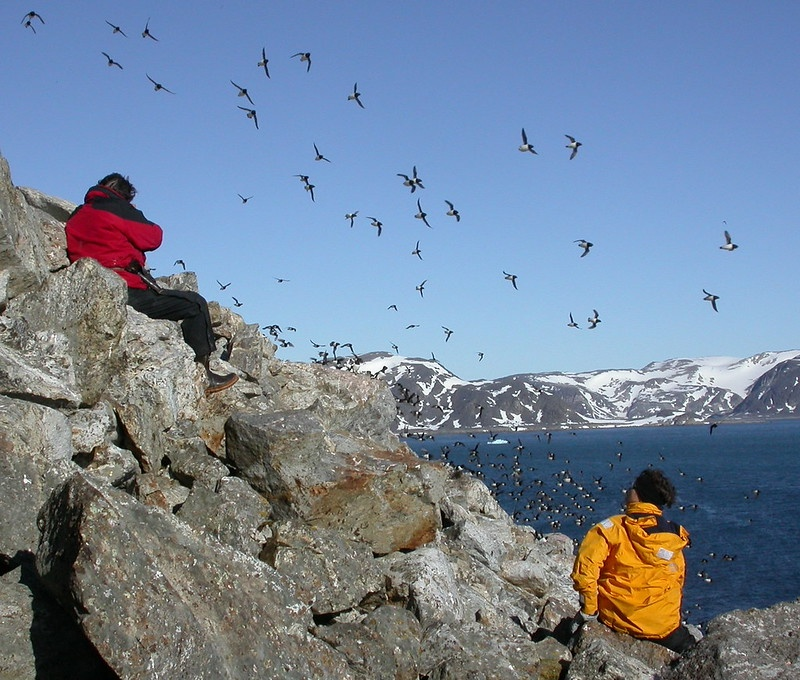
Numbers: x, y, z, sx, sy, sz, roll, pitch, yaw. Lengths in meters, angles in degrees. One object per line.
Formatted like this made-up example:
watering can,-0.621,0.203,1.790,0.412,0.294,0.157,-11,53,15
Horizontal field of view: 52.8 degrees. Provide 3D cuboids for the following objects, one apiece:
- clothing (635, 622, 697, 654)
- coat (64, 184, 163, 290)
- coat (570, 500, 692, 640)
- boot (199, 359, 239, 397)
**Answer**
clothing,4.058,4.285,11.720,0.657,0.405,0.545,3,-8,-13
coat,-5.681,-1.882,15.544,1.766,2.102,1.378,-5,-5,17
coat,3.595,3.363,11.976,1.924,1.948,1.121,-1,12,-12
boot,-3.676,0.778,16.463,0.866,0.666,0.397,-19,9,-11
